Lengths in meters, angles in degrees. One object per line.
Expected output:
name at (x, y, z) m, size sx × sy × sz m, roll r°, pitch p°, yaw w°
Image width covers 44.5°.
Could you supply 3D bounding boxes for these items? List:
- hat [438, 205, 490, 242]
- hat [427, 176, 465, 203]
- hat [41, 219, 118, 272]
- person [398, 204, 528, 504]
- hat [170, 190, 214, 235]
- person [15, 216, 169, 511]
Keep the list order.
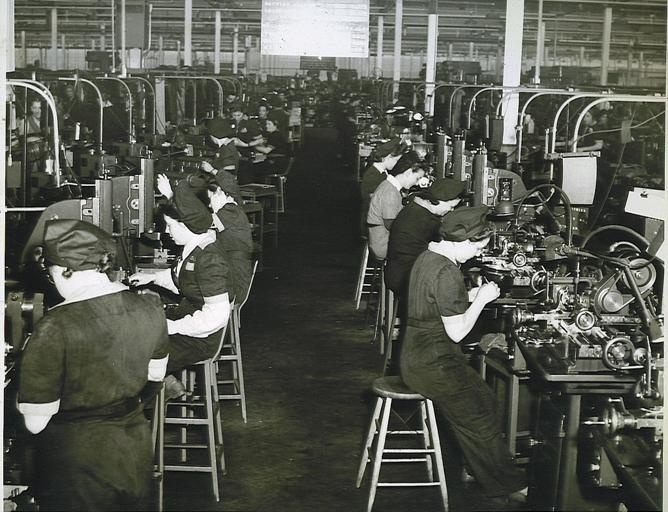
hat at (0.773, -0.207, 4.984) m, size 0.330 × 0.127 × 0.254 m, roll -13°, pitch -9°, yaw 0°
hat at (0.808, -0.469, 5.908) m, size 0.281 × 0.186 × 0.246 m, roll 3°, pitch 15°, yaw 10°
hat at (-1.268, -0.055, 4.071) m, size 0.301 × 0.235 × 0.149 m, roll 23°, pitch 8°, yaw -12°
person at (0.808, 0.651, 5.004) m, size 0.794 × 1.900 × 0.329 m, roll 4°, pitch 14°, yaw 14°
hat at (-0.874, -0.277, 5.112) m, size 0.106 × 0.267 × 0.224 m, roll -38°, pitch 51°, yaw -19°
person at (-1.192, 0.597, 4.081) m, size 0.710 × 1.483 × 0.341 m, roll -3°, pitch 14°, yaw -15°
